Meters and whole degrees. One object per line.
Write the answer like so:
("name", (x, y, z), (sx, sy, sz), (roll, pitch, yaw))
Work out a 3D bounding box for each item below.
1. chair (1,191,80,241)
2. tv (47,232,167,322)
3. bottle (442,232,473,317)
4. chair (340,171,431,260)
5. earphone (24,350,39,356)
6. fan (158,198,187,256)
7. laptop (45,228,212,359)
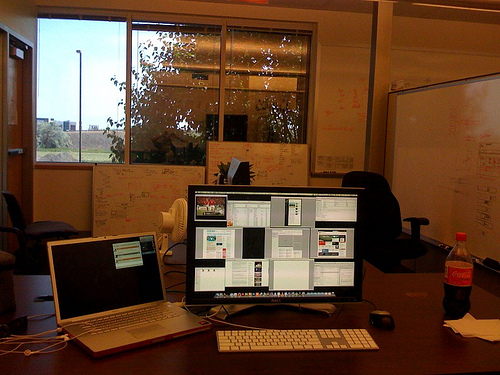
("chair", (-2.290, 0.308, 4.765), (0.647, 0.638, 0.584), (-10, 19, -38))
("tv", (-0.566, 0.409, 1.976), (0.573, 0.402, 0.336), (-2, -8, -43))
("bottle", (1.039, 0.454, 2.194), (0.132, 0.353, 0.131), (1, 14, 0))
("chair", (1.395, 0.297, 4.723), (0.836, 1.494, 1.053), (-1, 2, 15))
("earphone", (-0.923, 0.694, 1.833), (0.040, 0.008, 0.022), (2, 46, -16))
("fan", (-0.438, 0.219, 2.516), (0.156, 0.326, 0.264), (7, 0, -25))
("laptop", (-0.687, 0.384, 2.114), (0.605, 0.580, 0.405), (-8, 2, -34))
